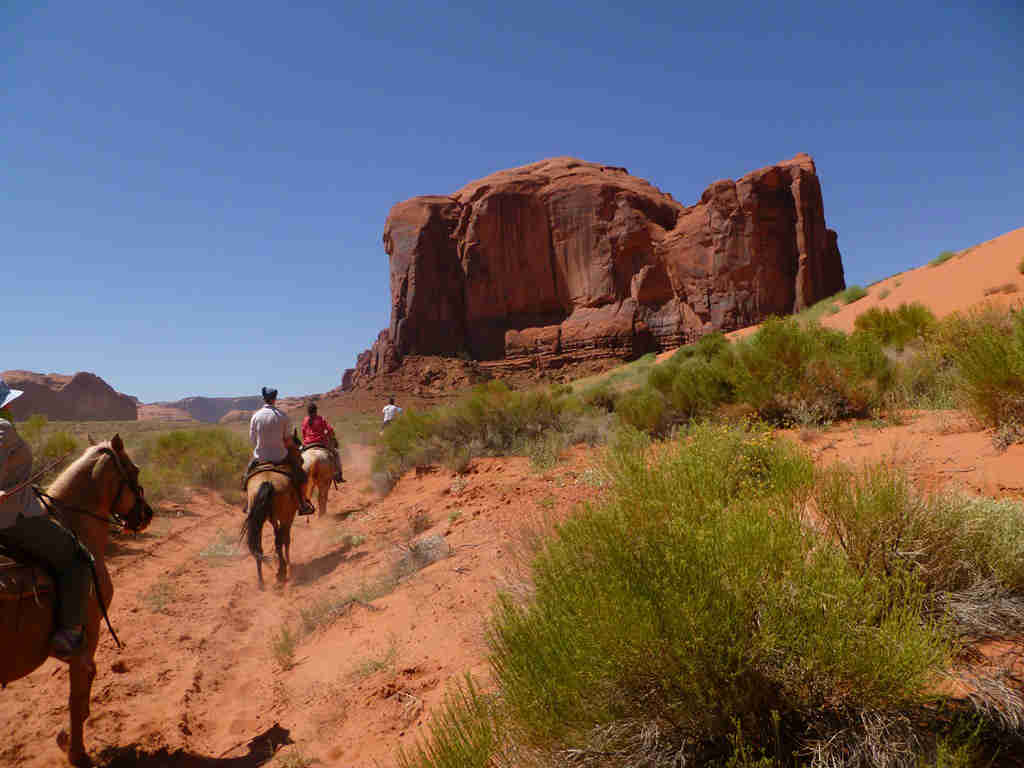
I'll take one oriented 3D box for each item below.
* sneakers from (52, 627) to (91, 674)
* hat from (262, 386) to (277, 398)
[{"bbox_3d":[-3.696,2.162,6.154,0.164,0.264,0.492,5,-18,-29],"label":"sneakers"},{"bbox_3d":[-2.787,0.098,8.458,0.124,0.172,0.152,3,39,-5],"label":"hat"}]
